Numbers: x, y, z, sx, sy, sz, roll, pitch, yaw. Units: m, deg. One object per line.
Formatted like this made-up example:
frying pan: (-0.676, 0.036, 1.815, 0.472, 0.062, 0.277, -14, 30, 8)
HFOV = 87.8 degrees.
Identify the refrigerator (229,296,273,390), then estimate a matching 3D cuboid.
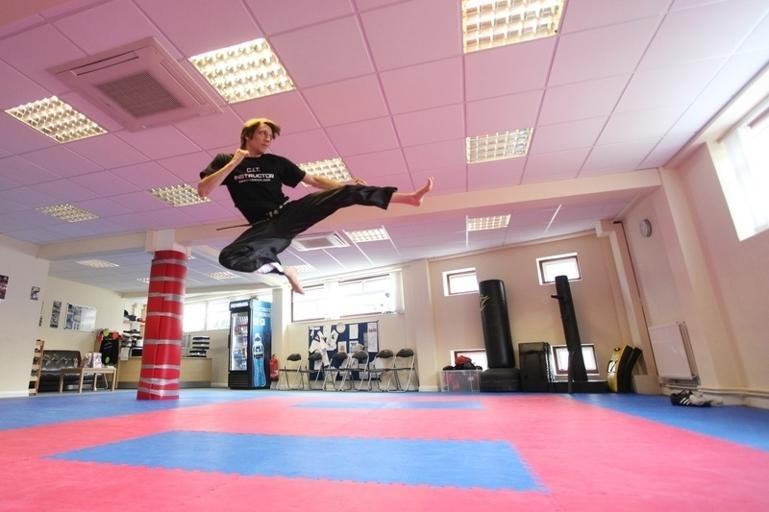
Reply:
refrigerator: (-4.403, 2.957, 13.326, 1.464, 2.696, 1.210, -7, -10, 33)

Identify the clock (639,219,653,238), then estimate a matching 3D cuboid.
clock: (5.302, -0.558, 8.081, 0.086, 0.284, 0.248, -2, 22, -14)

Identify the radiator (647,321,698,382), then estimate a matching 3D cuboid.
radiator: (5.501, 1.803, 7.562, 0.283, 1.126, 1.135, -3, -10, 14)

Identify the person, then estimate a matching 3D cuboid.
person: (-0.678, -0.691, 4.068, 2.344, 1.460, 0.753, -9, 4, 6)

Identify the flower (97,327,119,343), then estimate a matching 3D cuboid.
flower: (-9.477, 2.668, 13.625, 0.548, 0.304, 0.928, 1, -3, -33)

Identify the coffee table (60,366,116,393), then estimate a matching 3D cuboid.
coffee table: (-8.653, 3.445, 11.748, 1.392, 0.743, 1.342, -13, -17, 41)

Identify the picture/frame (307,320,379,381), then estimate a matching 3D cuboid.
picture/frame: (-1.322, 2.939, 12.353, 2.753, 1.748, 0.072, -9, -18, 29)

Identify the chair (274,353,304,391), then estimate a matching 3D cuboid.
chair: (-2.969, 3.574, 12.603, 0.653, 0.938, 0.772, -6, -12, 17)
